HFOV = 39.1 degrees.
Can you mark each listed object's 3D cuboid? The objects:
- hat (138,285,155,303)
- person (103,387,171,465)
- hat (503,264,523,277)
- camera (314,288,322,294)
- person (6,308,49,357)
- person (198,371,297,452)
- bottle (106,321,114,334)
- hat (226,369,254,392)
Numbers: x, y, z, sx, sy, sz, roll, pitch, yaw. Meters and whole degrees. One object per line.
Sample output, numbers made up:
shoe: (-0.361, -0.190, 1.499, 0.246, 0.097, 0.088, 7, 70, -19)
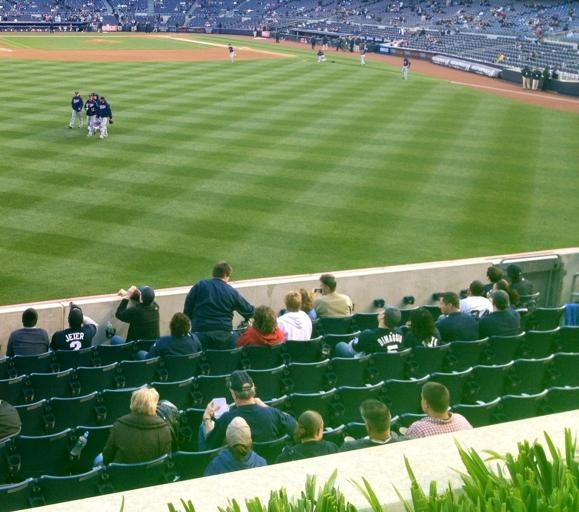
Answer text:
hat: (-1.901, 0.509, 10.889, 0.184, 0.202, 0.216, 3, -25, -26)
person: (-1.437, 1.604, 7.713, 0.640, 0.652, 0.361, -4, 18, -20)
hat: (3.306, 0.246, 12.218, 0.196, 0.228, 0.248, 4, -10, -1)
camera: (0.410, 0.515, 12.025, 0.111, 0.030, 0.101, 0, 7, -5)
person: (-3.314, 0.981, 10.321, 0.516, 0.819, 0.501, 4, 19, -12)
person: (-0.454, 1.585, 8.270, 0.676, 0.971, 0.602, -9, 43, -14)
bottle: (-2.495, 1.004, 11.482, 0.121, 0.139, 0.054, 0, 4, -2)
hat: (-0.499, 1.229, 8.067, 0.183, 0.126, 0.262, -7, 15, -18)
